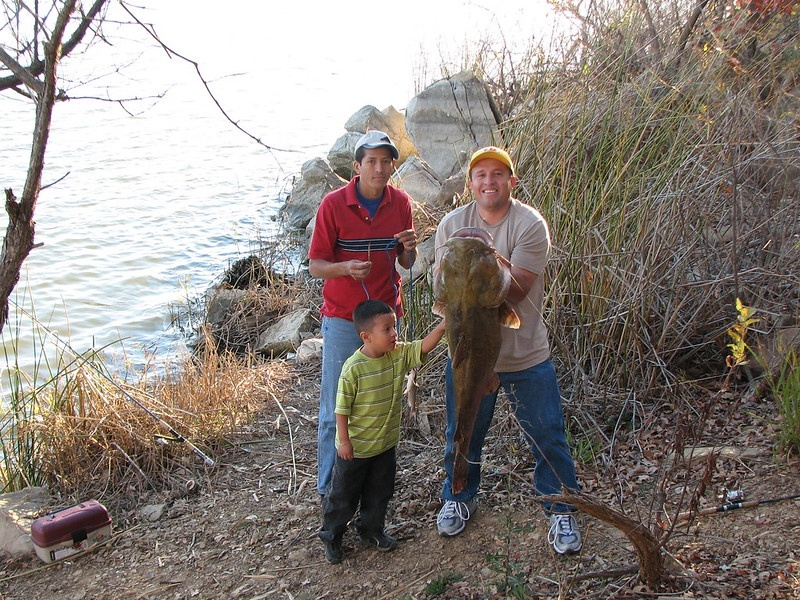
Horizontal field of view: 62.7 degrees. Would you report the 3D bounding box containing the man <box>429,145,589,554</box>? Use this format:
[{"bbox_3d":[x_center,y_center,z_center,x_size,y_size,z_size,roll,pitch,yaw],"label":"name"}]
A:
[{"bbox_3d":[0.804,0.312,4.662,1.054,2.748,1.015,0,4,19],"label":"man"}]

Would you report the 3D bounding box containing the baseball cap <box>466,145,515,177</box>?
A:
[{"bbox_3d":[0.571,-0.890,4.270,0.284,0.203,0.359,-7,11,5],"label":"baseball cap"}]

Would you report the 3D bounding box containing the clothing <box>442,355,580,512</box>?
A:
[{"bbox_3d":[0.760,0.889,4.702,0.612,1.269,0.698,3,-3,-6],"label":"clothing"}]

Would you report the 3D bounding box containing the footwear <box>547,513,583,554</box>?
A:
[{"bbox_3d":[1.090,1.573,4.384,0.215,0.183,0.243,-5,12,14],"label":"footwear"}]

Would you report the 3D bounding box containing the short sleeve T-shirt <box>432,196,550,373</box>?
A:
[{"bbox_3d":[0.730,-0.183,4.252,0.666,1.195,0.539,-23,-16,28],"label":"short sleeve T-shirt"}]

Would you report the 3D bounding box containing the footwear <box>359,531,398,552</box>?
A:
[{"bbox_3d":[-0.164,1.765,4.737,0.252,0.118,0.121,19,19,14],"label":"footwear"}]

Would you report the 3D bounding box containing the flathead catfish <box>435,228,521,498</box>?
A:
[{"bbox_3d":[0.477,0.452,4.028,0.521,1.777,0.438,-4,12,16],"label":"flathead catfish"}]

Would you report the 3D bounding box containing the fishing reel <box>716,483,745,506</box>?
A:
[{"bbox_3d":[2.179,1.320,4.335,0.164,0.177,0.072,-2,-11,14],"label":"fishing reel"}]

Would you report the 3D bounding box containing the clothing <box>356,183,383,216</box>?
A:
[{"bbox_3d":[-0.233,-0.730,4.788,0.155,0.230,0.078,2,9,-15],"label":"clothing"}]

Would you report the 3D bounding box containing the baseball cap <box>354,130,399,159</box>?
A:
[{"bbox_3d":[-0.203,-1.111,4.735,0.325,0.222,0.292,-6,12,11],"label":"baseball cap"}]

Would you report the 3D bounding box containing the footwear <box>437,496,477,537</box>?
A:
[{"bbox_3d":[0.398,1.567,4.759,0.135,0.168,0.354,0,13,22],"label":"footwear"}]
